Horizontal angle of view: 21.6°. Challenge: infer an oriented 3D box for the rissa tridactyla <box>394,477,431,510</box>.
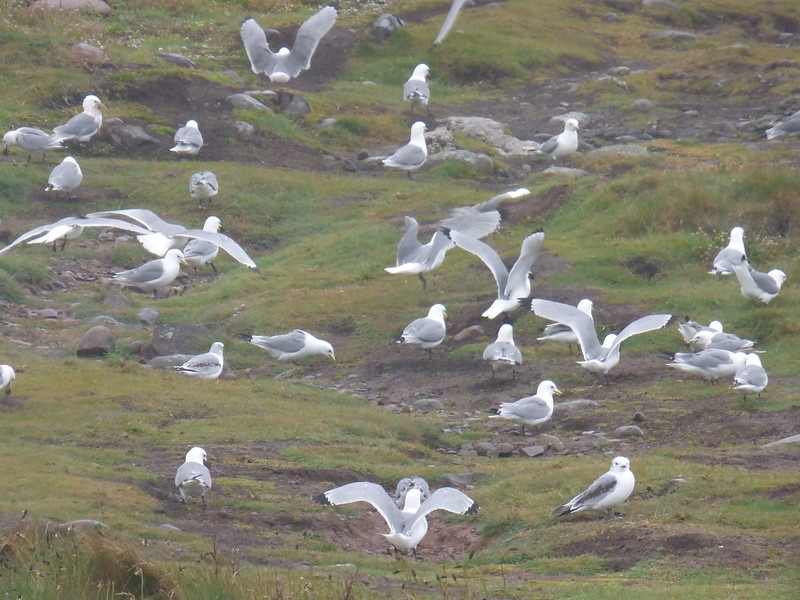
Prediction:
[{"bbox_3d":[0.255,4.779,51.125,0.618,0.891,0.366,2,46,6],"label":"rissa tridactyla"}]
